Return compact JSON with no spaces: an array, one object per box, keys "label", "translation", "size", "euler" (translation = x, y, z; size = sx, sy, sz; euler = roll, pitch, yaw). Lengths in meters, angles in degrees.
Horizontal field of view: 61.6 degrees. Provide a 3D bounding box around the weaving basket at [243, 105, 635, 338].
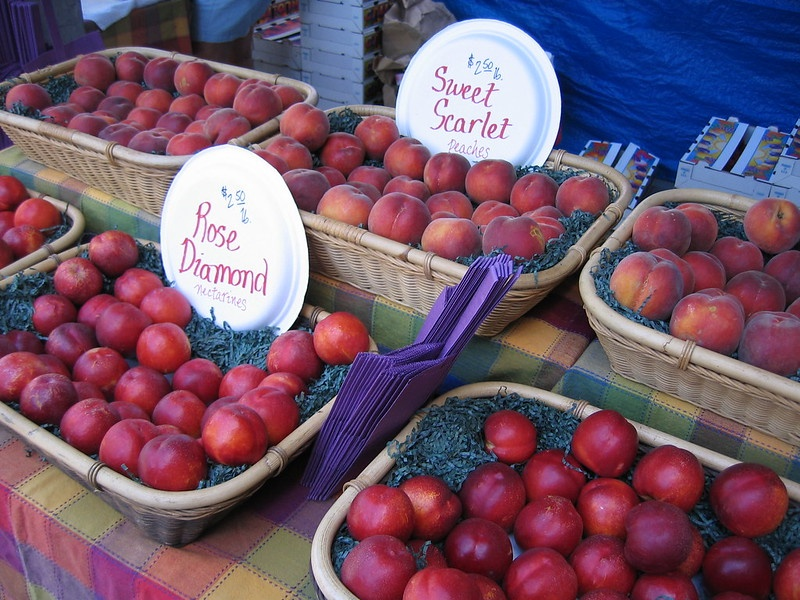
[{"label":"weaving basket","translation":[0.081,-0.090,1.648],"size":[0.681,0.190,0.501],"euler":[26,50,29]}]
